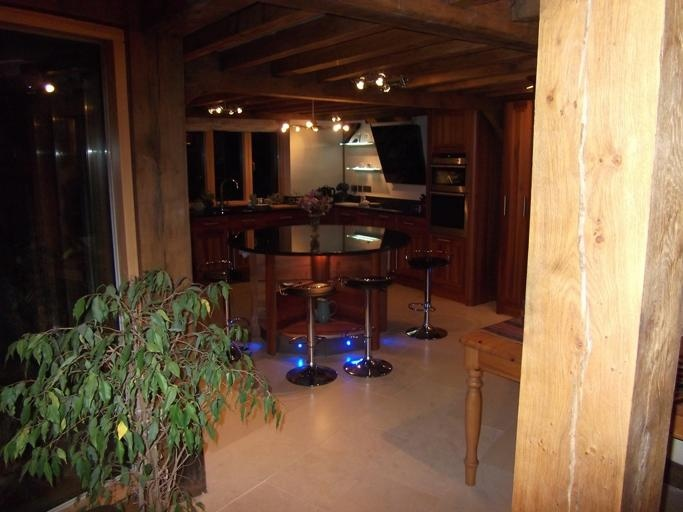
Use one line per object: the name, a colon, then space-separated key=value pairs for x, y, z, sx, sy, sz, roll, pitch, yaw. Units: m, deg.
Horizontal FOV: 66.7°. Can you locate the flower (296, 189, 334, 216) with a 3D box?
flower: x=-0.300 y=-0.560 z=5.618 sx=0.295 sy=0.266 sz=0.276 roll=-3 pitch=12 yaw=-10

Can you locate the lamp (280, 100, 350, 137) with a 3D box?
lamp: x=-0.410 y=-2.080 z=8.573 sx=0.821 sy=0.920 sz=0.863 roll=-2 pitch=17 yaw=-3

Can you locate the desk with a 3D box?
desk: x=-0.216 y=0.463 z=5.368 sx=1.328 sy=0.909 sz=1.399 roll=-1 pitch=9 yaw=-3

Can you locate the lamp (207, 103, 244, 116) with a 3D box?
lamp: x=-1.472 y=-1.842 z=6.530 sx=0.387 sy=0.098 sz=0.393 roll=20 pitch=27 yaw=39
